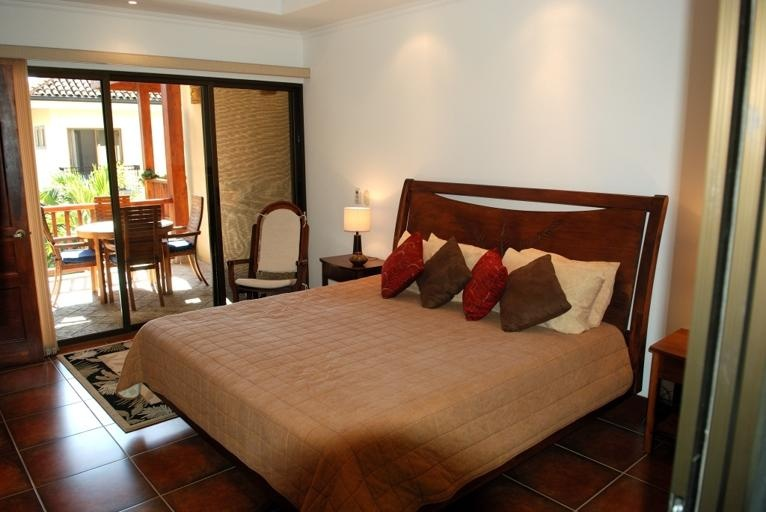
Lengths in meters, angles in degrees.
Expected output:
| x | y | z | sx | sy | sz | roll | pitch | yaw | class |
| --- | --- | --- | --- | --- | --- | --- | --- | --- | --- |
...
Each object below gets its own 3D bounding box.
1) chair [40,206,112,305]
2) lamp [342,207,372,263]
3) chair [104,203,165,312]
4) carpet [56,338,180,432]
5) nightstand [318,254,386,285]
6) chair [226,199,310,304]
| x | y | z | sx | sy | sz | roll | pitch | yaw | class |
| --- | --- | --- | --- | --- | --- | --- | --- | --- | --- |
| -3.208 | -0.010 | 5.371 | 0.624 | 0.809 | 0.599 | -4 | 6 | -15 | chair |
| -0.256 | -0.176 | 5.298 | 0.290 | 0.576 | 0.274 | 0 | 2 | 14 | lamp |
| -2.615 | -0.114 | 5.543 | 0.452 | 0.807 | 0.412 | -12 | 29 | -37 | chair |
| -2.086 | 1.066 | 4.296 | 1.157 | 0.014 | 0.532 | 27 | 23 | 36 | carpet |
| -0.281 | 0.124 | 5.321 | 0.353 | 0.405 | 0.441 | -9 | 15 | -35 | nightstand |
| -1.142 | 0.143 | 5.473 | 0.797 | 1.294 | 0.697 | 3 | 6 | 15 | chair |
